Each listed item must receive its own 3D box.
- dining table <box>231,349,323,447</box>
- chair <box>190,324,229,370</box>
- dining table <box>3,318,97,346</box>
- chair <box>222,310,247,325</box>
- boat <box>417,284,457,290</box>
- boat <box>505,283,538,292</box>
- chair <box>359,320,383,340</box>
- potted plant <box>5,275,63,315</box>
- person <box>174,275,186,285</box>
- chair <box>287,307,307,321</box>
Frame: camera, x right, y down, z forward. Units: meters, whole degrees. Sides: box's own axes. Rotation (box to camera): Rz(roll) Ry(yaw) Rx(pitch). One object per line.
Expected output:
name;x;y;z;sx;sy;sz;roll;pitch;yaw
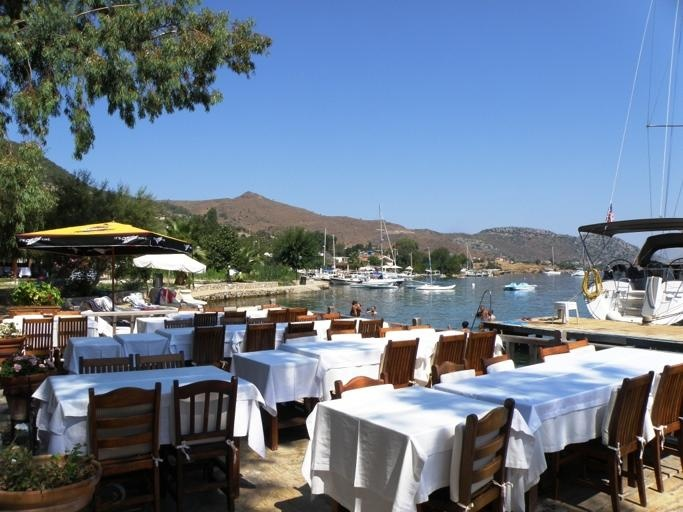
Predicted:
dining table;-0.950;1.800;7.127;1.141;0.930;1.132;0;2;-39
chair;-2.294;1.534;8.712;0.586;1.038;0.704;1;2;-23
dining table;-5.397;1.334;9.475;1.094;0.567;1.096;3;1;-34
chair;-2.347;1.277;10.974;0.405;0.342;0.245;3;4;-18
boat;17.680;5.909;92.848;6.625;1.323;7.041;1;-3;-17
boat;34.456;5.965;96.225;5.036;1.563;8.111;-1;-3;24
chair;0.601;1.431;9.755;0.313;0.486;0.333;3;-5;-21
potted plant;-10.434;1.297;17.057;1.042;0.736;1.008;8;3;-37
person;-14.188;2.121;44.087;0.901;1.004;0.853;-2;5;1
chair;-1.071;1.403;12.263;0.293;0.535;0.334;2;-4;-33
